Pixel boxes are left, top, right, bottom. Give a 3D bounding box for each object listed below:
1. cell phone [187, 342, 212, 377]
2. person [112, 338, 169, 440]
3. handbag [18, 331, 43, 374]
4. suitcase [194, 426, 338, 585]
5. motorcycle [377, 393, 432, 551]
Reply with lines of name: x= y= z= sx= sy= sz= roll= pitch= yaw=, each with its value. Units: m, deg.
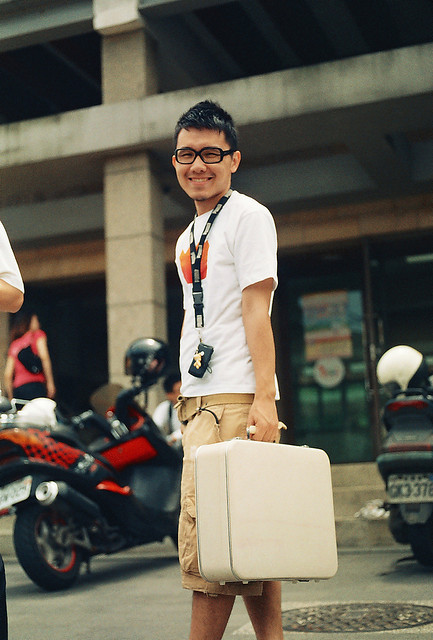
cell phone: x=-0.051 y=0.126 z=3.390 sx=0.025 sy=0.092 sz=0.071 roll=4 pitch=-17 yaw=41
person: x=-0.494 y=0.477 z=7.342 sx=0.434 sy=0.793 sz=0.553 roll=2 pitch=-11 yaw=4
handbag: x=-1.235 y=0.264 z=7.250 sx=0.067 sy=0.177 sz=0.138 roll=-2 pitch=-6 yaw=18
suitcase: x=0.150 y=0.566 z=3.294 sx=0.478 sy=0.447 sz=0.156 roll=14 pitch=-28 yaw=-42
motorcycle: x=0.901 y=0.717 z=5.227 sx=0.261 sy=0.735 sz=0.383 roll=-8 pitch=-9 yaw=14
